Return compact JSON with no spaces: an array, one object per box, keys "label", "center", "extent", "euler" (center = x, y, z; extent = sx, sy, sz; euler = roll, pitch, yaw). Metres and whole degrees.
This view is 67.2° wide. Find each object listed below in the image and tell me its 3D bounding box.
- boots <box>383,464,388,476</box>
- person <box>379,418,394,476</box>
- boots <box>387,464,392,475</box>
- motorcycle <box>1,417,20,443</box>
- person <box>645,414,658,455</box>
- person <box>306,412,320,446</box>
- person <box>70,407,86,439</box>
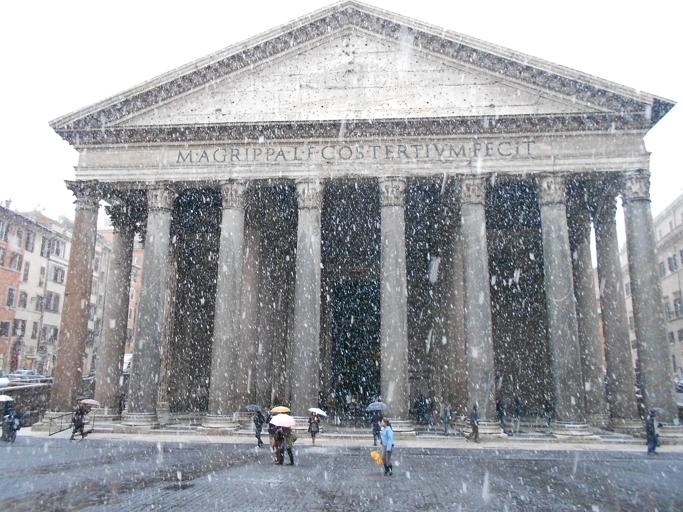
[{"label":"boots","center":[1.412,6.611,15.892],"extent":[0.089,0.303,0.195],"euler":[-4,0,-27]},{"label":"person","center":[1.449,5.964,16.126],"extent":[0.342,1.599,0.863],"euler":[-2,-13,3]},{"label":"boots","center":[1.520,6.589,15.884],"extent":[0.126,0.418,0.194],"euler":[6,2,9]},{"label":"motorcycle","center":[-14.112,7.221,21.536],"extent":[0.605,1.046,0.681],"euler":[3,-14,-19]},{"label":"person","center":[12.110,6.813,19.877],"extent":[0.396,1.491,0.805],"euler":[-9,-15,29]},{"label":"person","center":[-1.261,7.648,23.054],"extent":[0.495,1.322,1.651],"euler":[-1,-14,-4]},{"label":"person","center":[-11.833,7.338,22.866],"extent":[0.446,1.444,1.179],"euler":[1,-14,-10]}]
